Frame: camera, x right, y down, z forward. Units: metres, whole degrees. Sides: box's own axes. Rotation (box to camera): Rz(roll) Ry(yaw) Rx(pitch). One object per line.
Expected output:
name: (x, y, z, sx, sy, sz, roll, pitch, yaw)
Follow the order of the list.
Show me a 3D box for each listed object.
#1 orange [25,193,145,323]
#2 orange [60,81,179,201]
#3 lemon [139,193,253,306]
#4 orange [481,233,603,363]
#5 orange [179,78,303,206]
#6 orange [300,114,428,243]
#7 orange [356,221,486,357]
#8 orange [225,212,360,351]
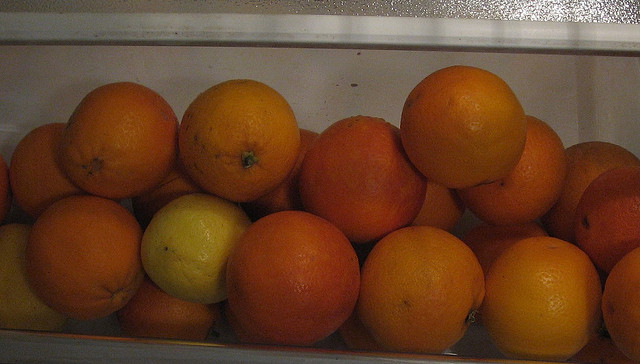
orange: (-0.412, 0.132, 1.116, 0.210, 0.221, 0.217, -19, -9, 5)
orange: (-0.384, -0.082, 1.105, 0.217, 0.247, 0.207, -5, 2, -15)
lemon: (-0.225, 0.120, 1.031, 0.191, 0.171, 0.097, 1, 21, -8)
orange: (0.357, 0.190, 1.069, 0.213, 0.244, 0.205, 3, 1, 5)
orange: (-0.143, -0.074, 1.117, 0.225, 0.218, 0.206, 4, 4, -8)
orange: (0.074, -0.010, 1.106, 0.219, 0.246, 0.216, 1, 22, -2)
orange: (0.164, 0.202, 1.081, 0.236, 0.215, 0.233, 12, 55, 3)
orange: (-0.056, 0.181, 1.086, 0.258, 0.277, 0.284, 4, 5, -21)
